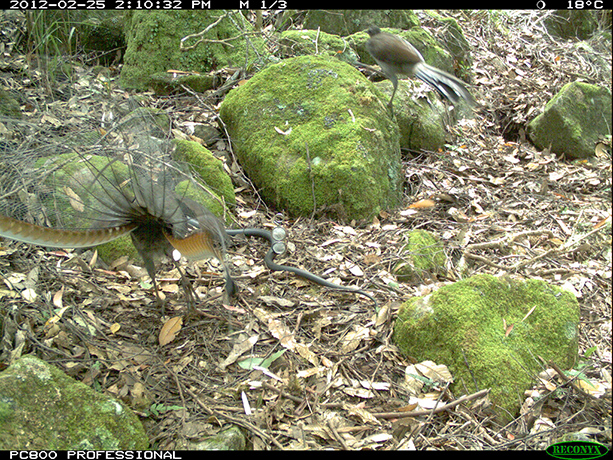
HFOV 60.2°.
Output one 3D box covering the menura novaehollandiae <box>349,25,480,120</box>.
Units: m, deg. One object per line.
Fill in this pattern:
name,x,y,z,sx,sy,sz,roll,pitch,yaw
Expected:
menura novaehollandiae,1.030,-1.572,5.181,0.400,0.545,1.621,-10,33,-23
